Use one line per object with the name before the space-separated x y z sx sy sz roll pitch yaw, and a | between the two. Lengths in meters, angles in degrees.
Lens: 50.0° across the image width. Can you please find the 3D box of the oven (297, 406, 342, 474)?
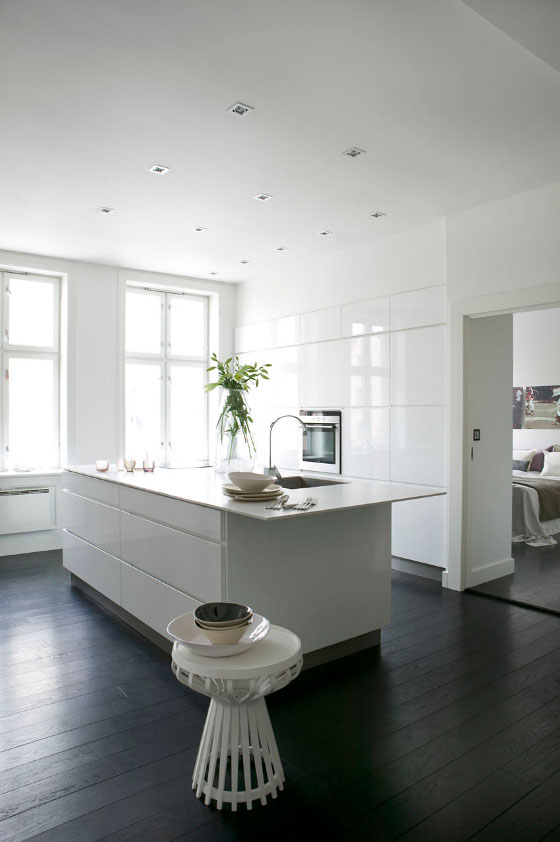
oven | 0.318 0.223 5.539 0.429 0.598 0.406 0 -12 -2

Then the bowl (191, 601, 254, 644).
bowl | -0.154 0.544 1.601 0.151 0.079 0.157 0 -2 0

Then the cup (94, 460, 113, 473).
cup | -1.150 0.301 3.852 0.094 0.083 0.106 0 -6 -16

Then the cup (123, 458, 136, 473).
cup | -0.942 0.270 3.764 0.070 0.087 0.073 0 -6 0

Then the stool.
stool | -0.118 0.850 1.705 0.340 0.523 0.534 0 -2 -2

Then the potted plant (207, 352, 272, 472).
potted plant | -0.296 -0.038 3.659 0.330 0.705 0.325 4 2 15
